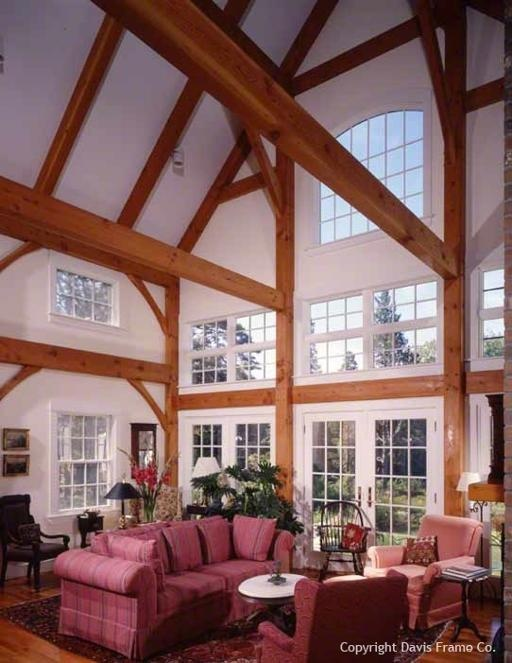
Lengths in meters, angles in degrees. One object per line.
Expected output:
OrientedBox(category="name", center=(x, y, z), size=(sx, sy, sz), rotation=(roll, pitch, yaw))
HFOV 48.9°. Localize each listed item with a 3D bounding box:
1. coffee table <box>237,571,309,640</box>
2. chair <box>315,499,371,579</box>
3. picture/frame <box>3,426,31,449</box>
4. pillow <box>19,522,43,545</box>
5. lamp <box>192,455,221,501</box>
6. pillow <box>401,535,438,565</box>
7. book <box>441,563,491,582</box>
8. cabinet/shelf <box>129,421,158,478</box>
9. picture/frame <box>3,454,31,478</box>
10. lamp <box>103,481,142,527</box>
OrientedBox(category="coffee table", center=(0.129, 2.212, 4.531), size=(0.516, 0.398, 0.514), rotation=(-2, -1, 26))
OrientedBox(category="chair", center=(1.002, 2.441, 6.468), size=(0.699, 0.896, 0.676), rotation=(12, -15, -33))
OrientedBox(category="picture/frame", center=(-2.937, 1.293, 6.841), size=(0.023, 0.224, 0.299), rotation=(-8, -11, 28))
OrientedBox(category="pillow", center=(-2.626, 2.342, 6.510), size=(0.092, 0.262, 0.258), rotation=(-27, -25, 29))
OrientedBox(category="lamp", center=(-0.708, 1.961, 7.904), size=(0.350, 0.361, 0.343), rotation=(-4, -4, 5))
OrientedBox(category="pillow", center=(1.604, 2.124, 5.440), size=(0.237, 0.217, 0.092), rotation=(-14, -44, 35))
OrientedBox(category="book", center=(1.706, 1.964, 4.565), size=(0.377, 0.075, 0.342), rotation=(-5, -10, 19))
OrientedBox(category="cabinet/shelf", center=(-1.741, 1.865, 8.831), size=(0.128, 0.782, 0.457), rotation=(6, -12, -42))
OrientedBox(category="picture/frame", center=(-2.921, 1.626, 6.815), size=(0.033, 0.245, 0.312), rotation=(-12, -15, 30))
OrientedBox(category="lamp", center=(-1.613, 2.115, 6.828), size=(0.453, 0.561, 0.428), rotation=(13, -27, -38))
